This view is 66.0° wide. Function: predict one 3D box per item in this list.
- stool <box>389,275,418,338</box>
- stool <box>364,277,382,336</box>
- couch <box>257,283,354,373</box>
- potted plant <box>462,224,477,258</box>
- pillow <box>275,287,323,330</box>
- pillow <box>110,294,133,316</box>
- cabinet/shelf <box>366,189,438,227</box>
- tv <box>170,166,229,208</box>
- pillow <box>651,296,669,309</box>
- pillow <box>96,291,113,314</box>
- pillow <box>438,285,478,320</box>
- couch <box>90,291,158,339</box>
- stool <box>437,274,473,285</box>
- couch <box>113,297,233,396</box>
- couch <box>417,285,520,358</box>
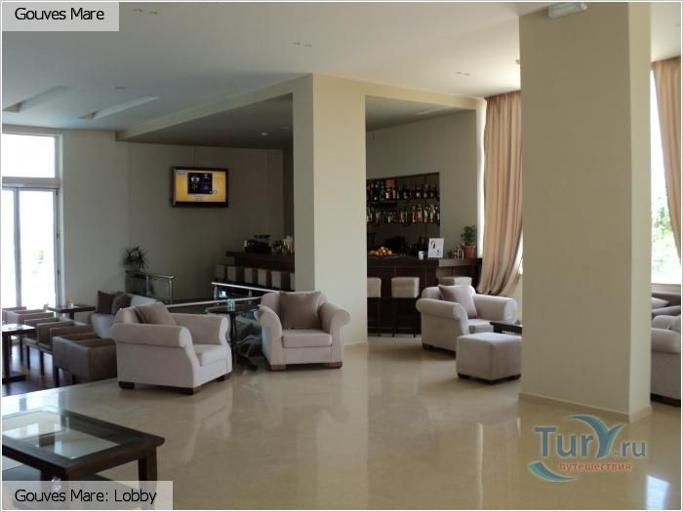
[{"bbox_3d":[1.174,0.924,9.708,0.583,0.963,0.580,1,-11,-5],"label":"stool"},{"bbox_3d":[0.604,0.928,9.741,0.275,1.064,0.290,0,7,1],"label":"stool"},{"bbox_3d":[-0.659,1.082,7.793,1.409,1.019,1.105,1,0,-29],"label":"couch"},{"bbox_3d":[2.459,-0.271,10.147,0.265,0.609,0.322,4,8,27],"label":"potted plant"},{"bbox_3d":[-0.613,0.808,7.745,0.562,0.561,0.211,1,-18,-2],"label":"pillow"},{"bbox_3d":[-4.006,0.893,9.520,0.362,0.377,0.171,-8,-22,40],"label":"pillow"},{"bbox_3d":[1.360,-1.074,11.385,1.617,0.746,0.211,2,7,23],"label":"cabinet/shelf"},{"bbox_3d":[-3.750,-1.776,13.534,1.112,0.812,0.151,1,-1,-25],"label":"tv"},{"bbox_3d":[4.526,0.675,7.467,0.182,0.057,0.195,-18,21,20],"label":"pillow"},{"bbox_3d":[-4.959,0.989,10.960,0.426,0.435,0.174,-1,-21,24],"label":"pillow"},{"bbox_3d":[1.900,0.752,8.654,0.568,0.545,0.171,2,-24,-39],"label":"pillow"},{"bbox_3d":[-4.522,1.283,10.528,1.786,0.876,0.847,8,3,40],"label":"couch"},{"bbox_3d":[2.129,0.464,9.655,0.670,0.150,0.410,-3,7,-24],"label":"stool"},{"bbox_3d":[-2.242,1.196,7.030,1.308,1.033,1.374,1,-1,-4],"label":"couch"},{"bbox_3d":[2.066,1.029,8.687,1.392,1.058,1.151,-2,2,-40],"label":"couch"}]
